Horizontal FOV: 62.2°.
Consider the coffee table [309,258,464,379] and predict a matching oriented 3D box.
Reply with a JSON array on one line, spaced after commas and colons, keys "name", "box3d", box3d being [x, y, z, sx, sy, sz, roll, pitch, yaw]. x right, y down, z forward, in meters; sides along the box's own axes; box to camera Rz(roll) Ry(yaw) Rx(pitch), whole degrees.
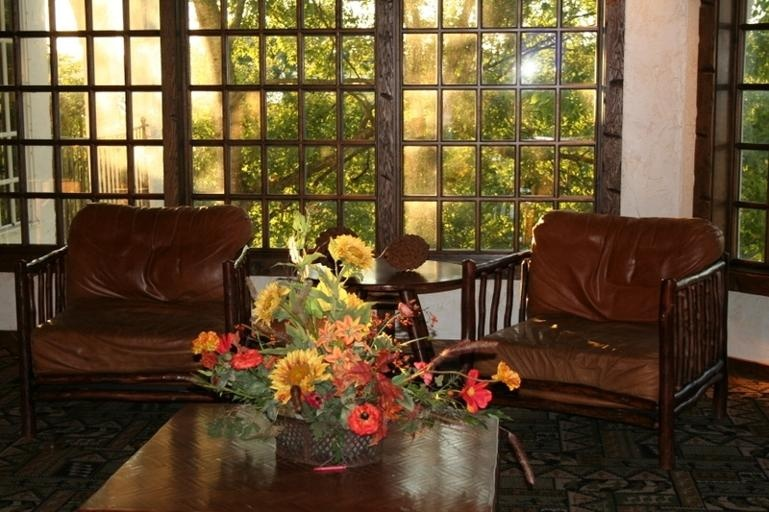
[{"name": "coffee table", "box3d": [0.184, 0.287, 3.994, 1.008, 0.805, 0.829, 0, 3, 15]}]

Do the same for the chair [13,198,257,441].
[{"name": "chair", "box3d": [-1.666, 0.274, 4.082, 1.545, 1.117, 1.408, 1, 4, -3]}]

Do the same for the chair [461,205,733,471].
[{"name": "chair", "box3d": [1.237, 0.389, 3.649, 1.202, 0.943, 1.151, 4, 18, 42]}]

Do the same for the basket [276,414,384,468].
[{"name": "basket", "box3d": [-0.205, 0.624, 2.149, 0.281, 0.079, 0.201, 1, 0, -1]}]

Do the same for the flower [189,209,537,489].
[{"name": "flower", "box3d": [-0.112, 0.340, 2.204, 1.132, 0.590, 0.673, 21, 17, -2]}]
